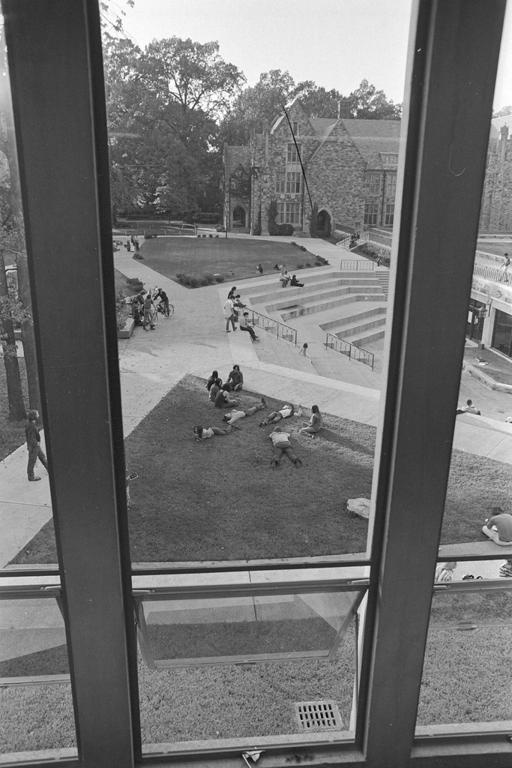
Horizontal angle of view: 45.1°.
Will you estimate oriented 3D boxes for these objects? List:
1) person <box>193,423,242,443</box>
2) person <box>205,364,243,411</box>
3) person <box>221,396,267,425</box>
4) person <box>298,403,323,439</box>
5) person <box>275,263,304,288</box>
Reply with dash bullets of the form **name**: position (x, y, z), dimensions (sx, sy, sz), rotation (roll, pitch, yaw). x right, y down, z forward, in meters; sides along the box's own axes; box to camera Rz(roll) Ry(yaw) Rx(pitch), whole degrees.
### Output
- **person**: position (-1.617, 1.886, 23.104), dimensions (1.203, 0.425, 0.768), rotation (-4, 13, -15)
- **person**: position (-1.099, 0.158, 21.201), dimensions (0.992, 0.942, 1.735), rotation (10, 35, 11)
- **person**: position (-0.380, 1.047, 22.912), dimensions (1.661, 0.631, 0.793), rotation (-24, 32, -39)
- **person**: position (1.937, 1.382, 22.184), dimensions (0.827, 1.570, 1.204), rotation (6, 4, 8)
- **person**: position (1.836, -5.361, 31.002), dimensions (1.026, 0.288, 1.244), rotation (7, 41, -13)
